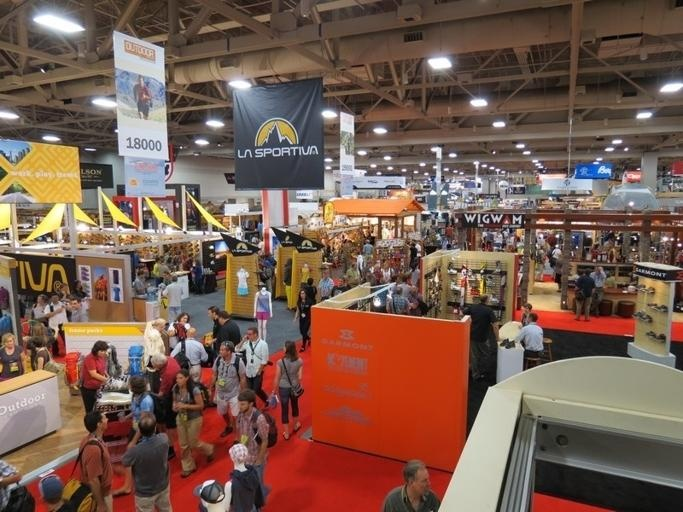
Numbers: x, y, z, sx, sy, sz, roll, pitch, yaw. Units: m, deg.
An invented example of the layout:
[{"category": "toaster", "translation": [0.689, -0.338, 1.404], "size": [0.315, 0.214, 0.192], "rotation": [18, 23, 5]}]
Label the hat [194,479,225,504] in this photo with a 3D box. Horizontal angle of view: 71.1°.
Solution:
[{"category": "hat", "translation": [-1.354, 2.342, 4.812], "size": [0.307, 0.121, 0.207], "rotation": [22, 21, 37]}]

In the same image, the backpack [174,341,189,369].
[{"category": "backpack", "translation": [-2.423, 1.483, 7.231], "size": [0.213, 0.332, 0.319], "rotation": [-17, -27, 23]}]

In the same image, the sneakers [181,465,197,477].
[{"category": "sneakers", "translation": [-2.073, 2.878, 6.479], "size": [0.085, 0.184, 0.191], "rotation": [-2, -9, 18]}]

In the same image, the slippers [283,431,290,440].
[{"category": "slippers", "translation": [-0.817, 2.655, 7.160], "size": [0.067, 0.125, 0.045], "rotation": [5, -14, -19]}]

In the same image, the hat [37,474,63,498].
[{"category": "hat", "translation": [-2.801, 2.187, 4.594], "size": [0.171, 0.133, 0.233], "rotation": [2, 46, -34]}]

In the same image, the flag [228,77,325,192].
[{"category": "flag", "translation": [-1.578, -3.032, 11.855], "size": [3.303, 3.457, 0.250], "rotation": [5, 14, 26]}]

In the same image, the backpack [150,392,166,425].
[{"category": "backpack", "translation": [-2.364, 1.951, 6.142], "size": [0.162, 0.489, 0.412], "rotation": [-2, 5, -19]}]

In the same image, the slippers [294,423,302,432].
[{"category": "slippers", "translation": [-0.684, 2.612, 7.404], "size": [0.049, 0.104, 0.149], "rotation": [6, 15, 11]}]

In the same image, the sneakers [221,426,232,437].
[{"category": "sneakers", "translation": [-1.762, 2.615, 7.248], "size": [0.159, 0.114, 0.169], "rotation": [1, 5, 18]}]

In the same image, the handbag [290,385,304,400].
[{"category": "handbag", "translation": [-0.672, 2.002, 7.165], "size": [0.152, 0.263, 0.245], "rotation": [0, 5, 7]}]
